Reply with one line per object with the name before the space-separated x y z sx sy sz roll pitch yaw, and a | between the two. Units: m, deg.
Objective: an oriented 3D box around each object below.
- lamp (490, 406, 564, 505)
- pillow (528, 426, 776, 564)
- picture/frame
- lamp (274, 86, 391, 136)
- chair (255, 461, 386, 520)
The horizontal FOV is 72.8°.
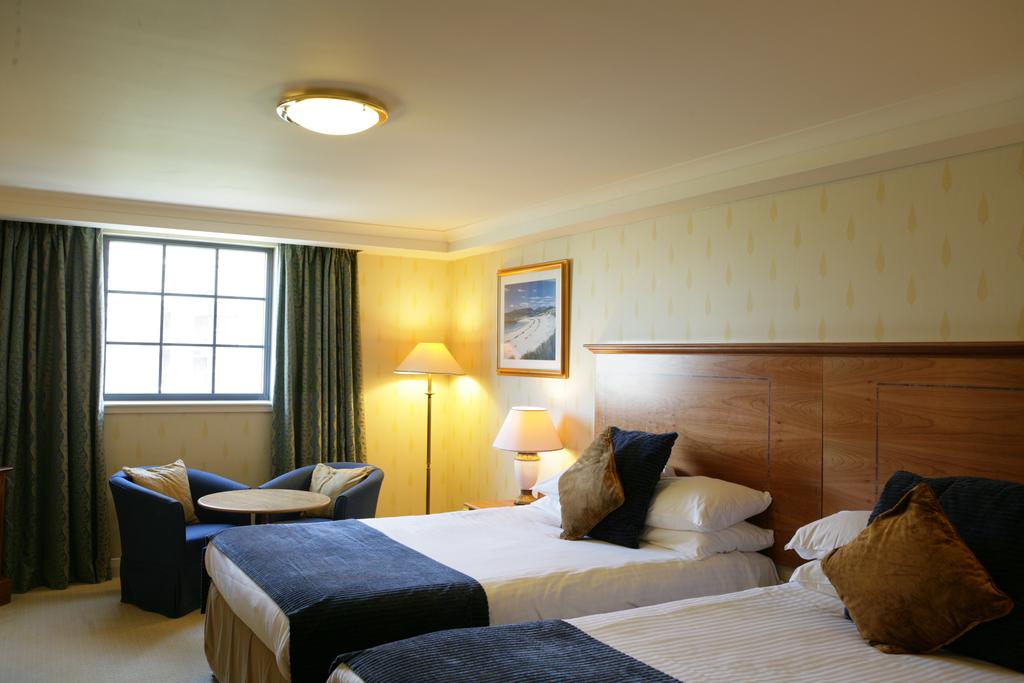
lamp | 0.135 0.948 5.650 0.641 0.715 0.628 9 -11 -39
pillow | 0.790 0.858 4.213 0.735 0.295 0.993 -6 6 -43
picture/frame | 0.181 -0.187 6.006 0.170 0.802 0.915 -4 1 -33
lamp | -0.970 -1.215 3.787 0.631 0.134 0.604 2 1 -19
chair | -1.456 1.232 5.598 0.671 0.622 0.583 -3 -15 22
